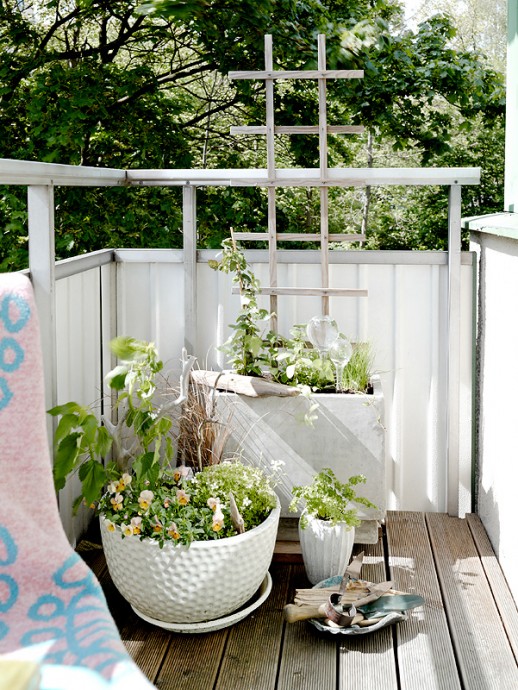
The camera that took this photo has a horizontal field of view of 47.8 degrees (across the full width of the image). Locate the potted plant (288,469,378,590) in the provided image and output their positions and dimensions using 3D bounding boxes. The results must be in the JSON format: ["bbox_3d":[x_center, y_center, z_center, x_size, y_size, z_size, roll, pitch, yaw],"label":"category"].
[{"bbox_3d":[0.246,0.567,1.784,0.238,0.296,0.186,1,6,7],"label":"potted plant"}]

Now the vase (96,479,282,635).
[{"bbox_3d":[-0.209,0.584,1.597,0.456,0.261,0.459,-2,-11,32],"label":"vase"}]

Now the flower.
[{"bbox_3d":[-0.333,0.190,1.633,0.655,0.463,0.516,10,8,22],"label":"flower"}]
